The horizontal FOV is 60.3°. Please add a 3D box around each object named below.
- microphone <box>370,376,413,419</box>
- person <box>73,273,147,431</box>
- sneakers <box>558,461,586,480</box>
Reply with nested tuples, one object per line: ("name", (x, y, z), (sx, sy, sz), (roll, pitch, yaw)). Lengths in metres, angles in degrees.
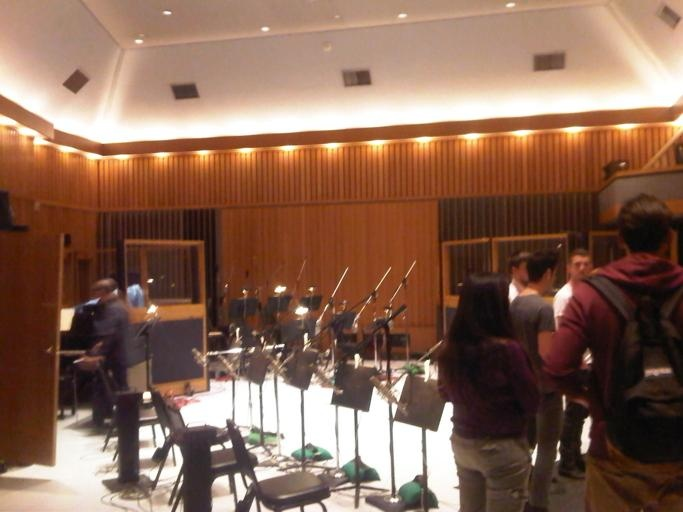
("microphone", (0.395, 1.171, 5.012), (0.440, 0.181, 0.167), (40, -10, 16))
("person", (-3.097, 1.244, 7.640), (0.650, 1.887, 0.689), (2, -6, -27))
("sneakers", (2.236, 2.072, 5.724), (0.263, 0.213, 0.106), (-8, -3, 26))
